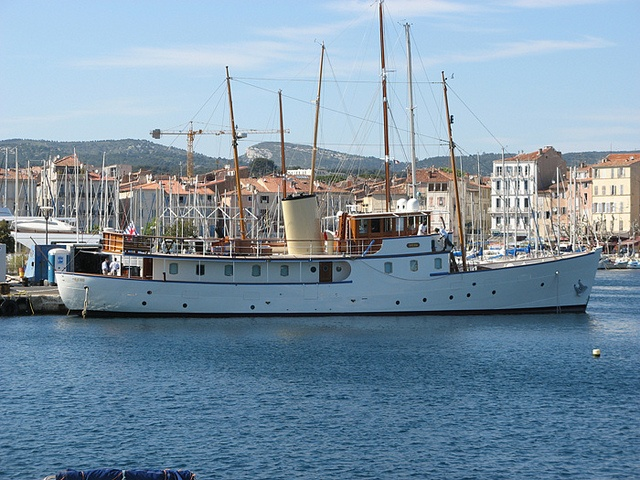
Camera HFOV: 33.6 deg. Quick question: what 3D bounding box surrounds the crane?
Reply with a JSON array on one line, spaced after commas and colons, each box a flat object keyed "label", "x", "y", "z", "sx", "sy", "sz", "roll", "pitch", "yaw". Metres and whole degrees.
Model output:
[{"label": "crane", "x": -5.449, "y": -4.987, "z": 57.786, "sx": 7.270, "sy": 3.247, "sz": 0.567, "roll": -4, "pitch": -26, "yaw": -5}]

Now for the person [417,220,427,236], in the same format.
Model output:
[{"label": "person", "x": 5.461, "y": -0.548, "z": 56.886, "sx": 0.509, "sy": 0.575, "sz": 0.706, "roll": 3, "pitch": 14, "yaw": 12}]
